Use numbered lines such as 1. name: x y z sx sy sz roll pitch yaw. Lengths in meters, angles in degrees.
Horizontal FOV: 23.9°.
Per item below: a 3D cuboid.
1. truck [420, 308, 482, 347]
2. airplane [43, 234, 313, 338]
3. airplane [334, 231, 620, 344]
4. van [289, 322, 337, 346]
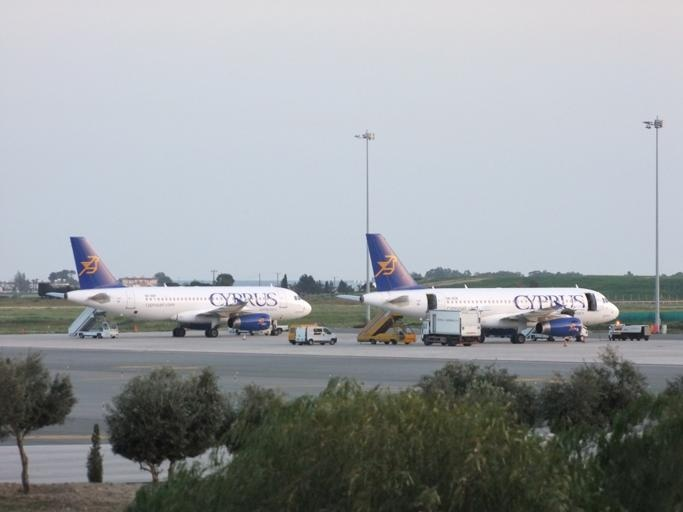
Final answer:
1. truck: 6.497 4.242 96.749 3.308 2.143 1.444 0 1 40
2. airplane: -11.641 1.625 116.747 20.367 6.950 8.691 0 -3 -6
3. airplane: 8.981 1.943 102.918 14.739 6.826 5.565 -1 1 0
4. van: -1.897 4.736 99.121 2.282 0.959 1.279 -1 2 -21
